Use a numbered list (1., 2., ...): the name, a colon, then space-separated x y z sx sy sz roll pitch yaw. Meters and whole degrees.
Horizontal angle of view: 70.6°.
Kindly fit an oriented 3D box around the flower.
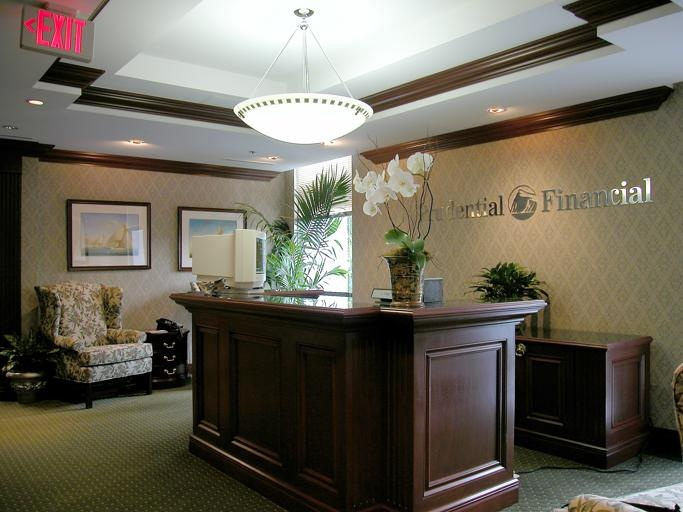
1. flower: 0.385 -0.298 3.284 0.588 0.796 0.464 -2 -2 45

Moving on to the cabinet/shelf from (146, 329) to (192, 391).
1. cabinet/shelf: -2.476 1.484 7.043 0.724 0.815 0.702 1 -3 -37

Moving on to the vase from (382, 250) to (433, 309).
1. vase: 0.441 0.174 3.249 0.319 0.369 0.321 3 -8 -23

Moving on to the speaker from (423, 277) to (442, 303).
1. speaker: 0.648 0.245 3.474 0.191 0.173 0.102 0 1 -28

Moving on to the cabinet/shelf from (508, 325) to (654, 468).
1. cabinet/shelf: 2.366 1.408 4.855 0.857 1.165 1.405 7 -10 -17

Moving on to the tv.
1. tv: -1.005 0.009 4.441 0.674 0.417 0.649 2 0 2

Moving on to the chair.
1. chair: -3.288 1.092 6.444 1.369 1.498 1.325 1 -1 1

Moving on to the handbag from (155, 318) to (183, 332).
1. handbag: -2.507 1.004 7.118 0.282 0.108 0.221 7 -8 -31
